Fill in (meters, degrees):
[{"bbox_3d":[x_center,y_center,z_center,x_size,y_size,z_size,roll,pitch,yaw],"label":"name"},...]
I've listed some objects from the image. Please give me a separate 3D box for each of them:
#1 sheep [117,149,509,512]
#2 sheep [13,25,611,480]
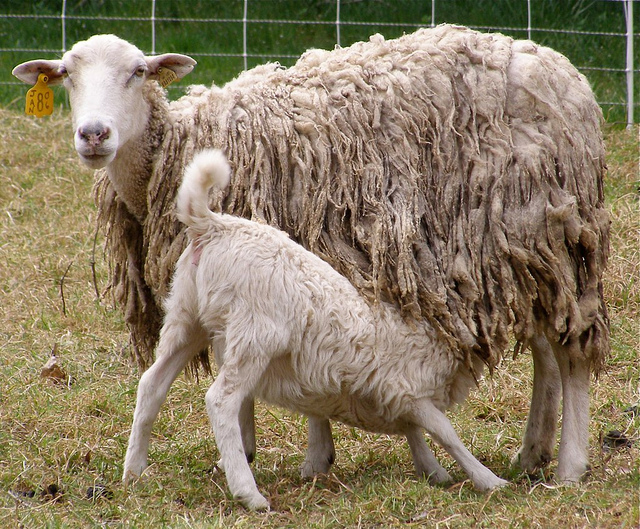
[{"bbox_3d":[-0.005,0.601,4.710,2.395,2.011,0.892,14,-17,-26],"label":"sheep"},{"bbox_3d":[0.000,-0.162,5.113,2.690,2.247,1.650,0,-2,2],"label":"sheep"}]
